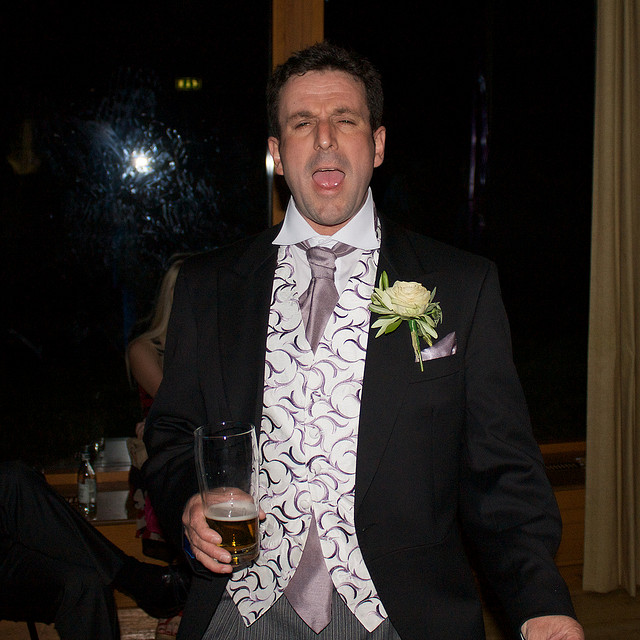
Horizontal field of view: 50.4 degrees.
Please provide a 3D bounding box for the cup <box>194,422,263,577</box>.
[{"bbox_3d":[-0.183,0.382,1.387,0.124,0.347,0.167,-3,5,-9],"label":"cup"}]

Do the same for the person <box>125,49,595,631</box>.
[{"bbox_3d":[0.031,0.018,1.543,0.929,1.302,0.586,-2,5,8],"label":"person"}]
